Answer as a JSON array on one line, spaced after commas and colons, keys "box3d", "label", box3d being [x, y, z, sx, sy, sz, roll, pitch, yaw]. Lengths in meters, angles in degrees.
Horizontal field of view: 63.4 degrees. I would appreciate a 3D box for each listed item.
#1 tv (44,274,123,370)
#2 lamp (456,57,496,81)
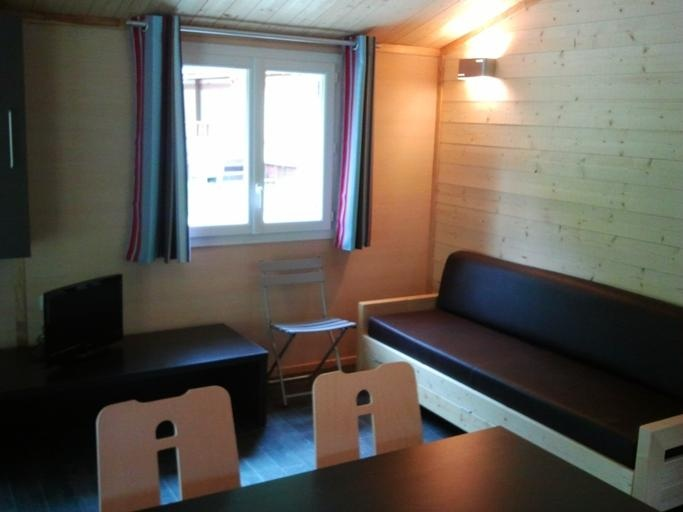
[{"box3d": [-1.693, 0.445, 3.616, 0.064, 0.494, 0.550, 13, 16, 42], "label": "tv"}, {"box3d": [1.087, -1.430, 4.372, 0.184, 0.136, 0.243, -9, 16, -37], "label": "lamp"}]
